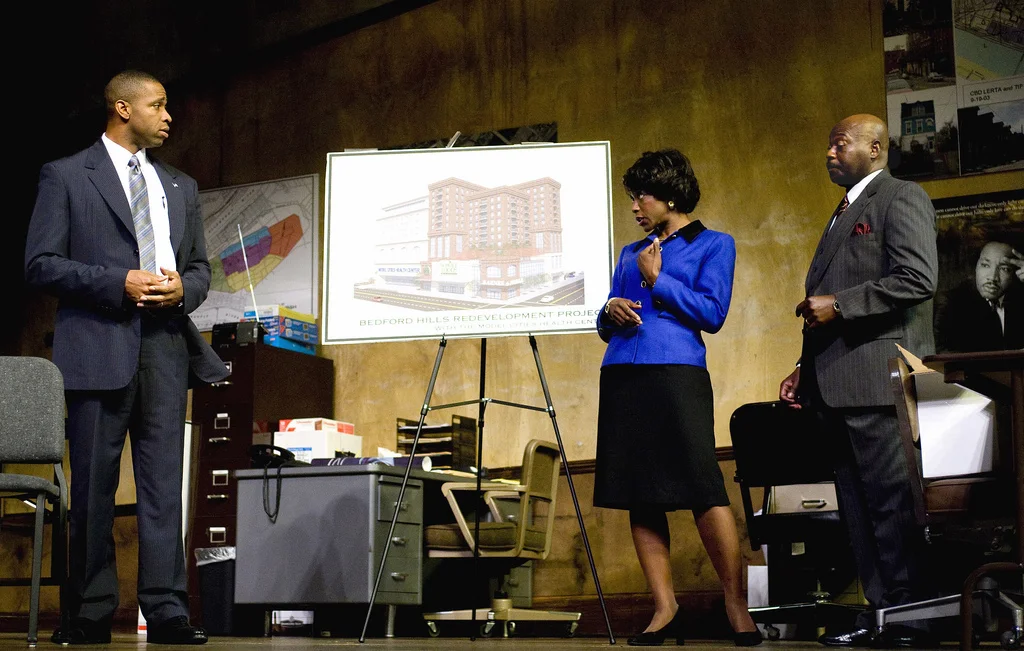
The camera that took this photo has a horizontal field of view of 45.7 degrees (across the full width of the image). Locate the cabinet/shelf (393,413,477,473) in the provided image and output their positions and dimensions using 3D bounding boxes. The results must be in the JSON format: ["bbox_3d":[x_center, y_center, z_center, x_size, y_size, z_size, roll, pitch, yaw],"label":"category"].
[{"bbox_3d":[-0.525,0.767,8.289,0.405,0.288,0.269,6,-22,-5],"label":"cabinet/shelf"}]

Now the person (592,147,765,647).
[{"bbox_3d":[0.786,0.343,6.169,0.807,2.520,0.325,-4,-8,3],"label":"person"}]

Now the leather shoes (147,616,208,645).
[{"bbox_3d":[-1.688,1.507,6.046,0.361,0.152,0.120,0,-4,2],"label":"leather shoes"}]

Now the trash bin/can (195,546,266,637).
[{"bbox_3d":[-1.849,1.758,8.078,0.556,0.558,0.546,2,-17,-3],"label":"trash bin/can"}]

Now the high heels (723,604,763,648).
[{"bbox_3d":[1.167,1.499,6.054,0.141,0.206,0.215,-5,-8,14],"label":"high heels"}]

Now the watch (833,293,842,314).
[{"bbox_3d":[1.629,-0.104,6.054,0.022,0.093,0.040,0,-9,-22],"label":"watch"}]

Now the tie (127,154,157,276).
[{"bbox_3d":[-1.915,-0.594,6.295,0.145,0.049,0.958,-11,-25,-16],"label":"tie"}]

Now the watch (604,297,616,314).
[{"bbox_3d":[0.499,-0.107,6.230,0.059,0.061,0.067,-3,2,-4],"label":"watch"}]

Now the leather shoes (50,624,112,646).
[{"bbox_3d":[-2.136,1.494,5.958,0.245,0.104,0.124,10,-14,-15],"label":"leather shoes"}]

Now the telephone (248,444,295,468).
[{"bbox_3d":[-1.596,0.854,8.085,0.253,0.180,0.669,-1,-9,-17],"label":"telephone"}]

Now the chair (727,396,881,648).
[{"bbox_3d":[1.691,1.113,6.865,0.878,1.275,0.847,12,-22,-37],"label":"chair"}]

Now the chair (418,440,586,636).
[{"bbox_3d":[-0.121,1.346,7.648,0.914,1.139,0.987,5,-14,-29],"label":"chair"}]

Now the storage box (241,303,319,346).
[{"bbox_3d":[-1.682,-0.004,8.959,0.369,0.224,0.367,0,-1,20],"label":"storage box"}]

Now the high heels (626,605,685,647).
[{"bbox_3d":[0.738,1.534,6.112,0.380,0.199,0.130,1,-9,-1],"label":"high heels"}]
